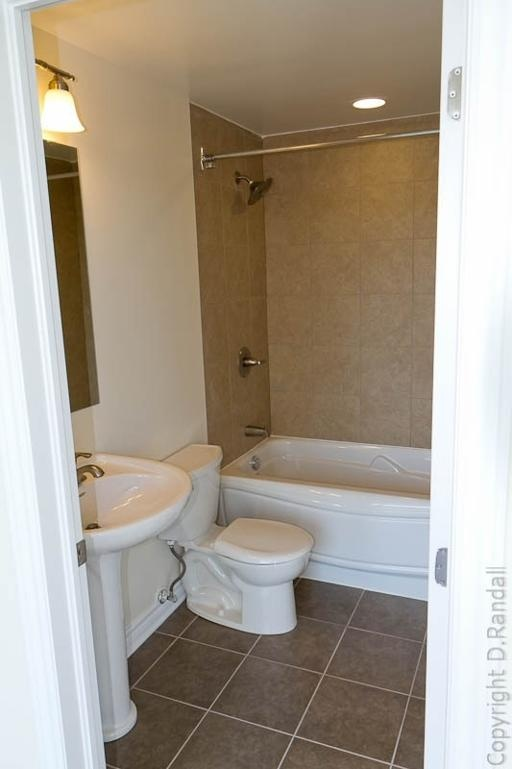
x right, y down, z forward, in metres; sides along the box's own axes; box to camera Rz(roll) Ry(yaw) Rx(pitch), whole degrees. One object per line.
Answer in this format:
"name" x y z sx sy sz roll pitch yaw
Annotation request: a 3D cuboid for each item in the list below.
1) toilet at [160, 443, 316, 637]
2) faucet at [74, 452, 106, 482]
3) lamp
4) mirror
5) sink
"toilet" -0.045 0.602 2.659 0.719 0.924 0.470 5 15 21
"faucet" -0.526 0.259 1.813 0.069 0.090 0.308 -4 8 -19
"lamp" -0.549 -0.789 1.599 0.142 0.168 0.099 -10 16 -36
"mirror" -0.635 -0.327 1.976 0.087 0.856 0.332 -4 19 -17
"sink" -0.374 0.354 1.799 0.258 0.111 0.328 4 19 9
